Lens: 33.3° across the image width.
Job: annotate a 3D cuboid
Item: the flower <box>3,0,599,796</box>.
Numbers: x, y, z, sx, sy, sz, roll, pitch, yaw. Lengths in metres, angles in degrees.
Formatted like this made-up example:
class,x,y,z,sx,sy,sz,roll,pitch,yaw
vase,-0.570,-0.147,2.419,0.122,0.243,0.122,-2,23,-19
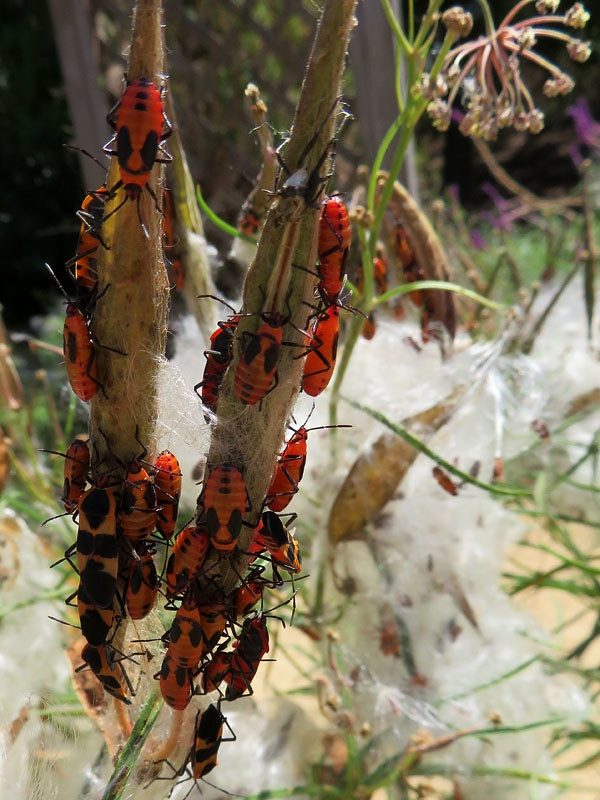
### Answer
class,x,y,z,sx,sy,sz,roll,pitch,yaw
flower,-0.048,0.072,1.206,0.733,0.374,0.843,1,98,-15
